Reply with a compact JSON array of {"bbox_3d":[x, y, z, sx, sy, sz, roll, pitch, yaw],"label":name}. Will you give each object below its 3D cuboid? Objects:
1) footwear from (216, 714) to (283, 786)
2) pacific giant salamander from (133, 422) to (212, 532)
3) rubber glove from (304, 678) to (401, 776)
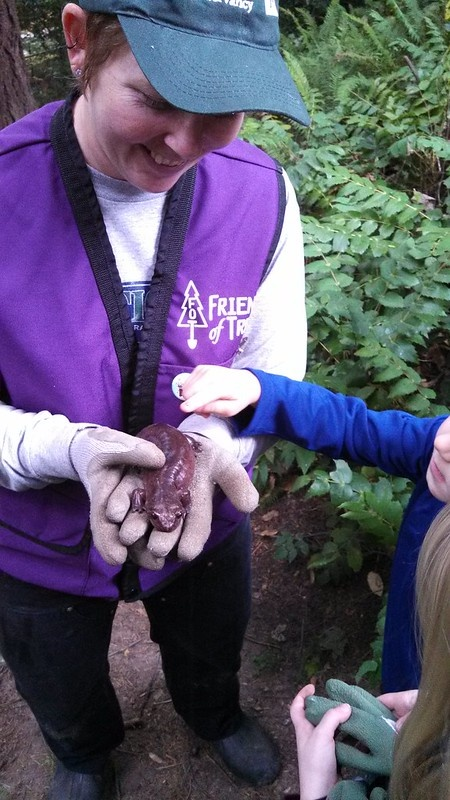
[{"bbox_3d":[0.067,1.411,2.669,0.188,0.124,0.315,-18,48,-33],"label":"footwear"},{"bbox_3d":[-0.157,0.201,1.606,0.196,0.080,0.277,4,48,-10],"label":"pacific giant salamander"},{"bbox_3d":[0.270,0.722,1.440,0.200,0.166,0.199,10,32,14],"label":"rubber glove"}]
